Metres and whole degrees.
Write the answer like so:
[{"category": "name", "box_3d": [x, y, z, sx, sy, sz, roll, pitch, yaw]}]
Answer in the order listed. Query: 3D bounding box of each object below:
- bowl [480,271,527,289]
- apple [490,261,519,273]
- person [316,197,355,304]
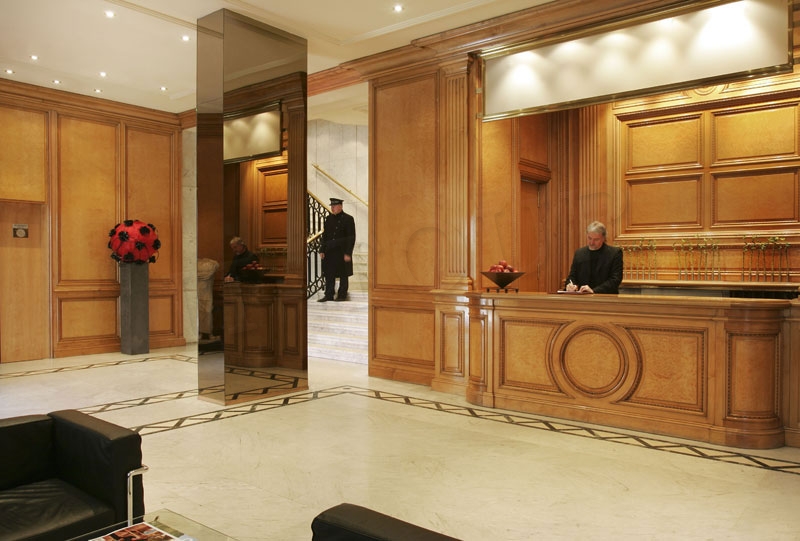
[{"category": "bowl", "box_3d": [1.162, 0.122, 6.643, 0.412, 0.257, 0.345, -1, 8, -10]}, {"category": "apple", "box_3d": [1.214, -0.057, 6.646, 0.219, 0.091, 0.206, 3, -7, 12]}, {"category": "person", "box_3d": [-1.229, -0.408, 10.950, 0.660, 1.941, 0.845, -1, 9, -7]}]
